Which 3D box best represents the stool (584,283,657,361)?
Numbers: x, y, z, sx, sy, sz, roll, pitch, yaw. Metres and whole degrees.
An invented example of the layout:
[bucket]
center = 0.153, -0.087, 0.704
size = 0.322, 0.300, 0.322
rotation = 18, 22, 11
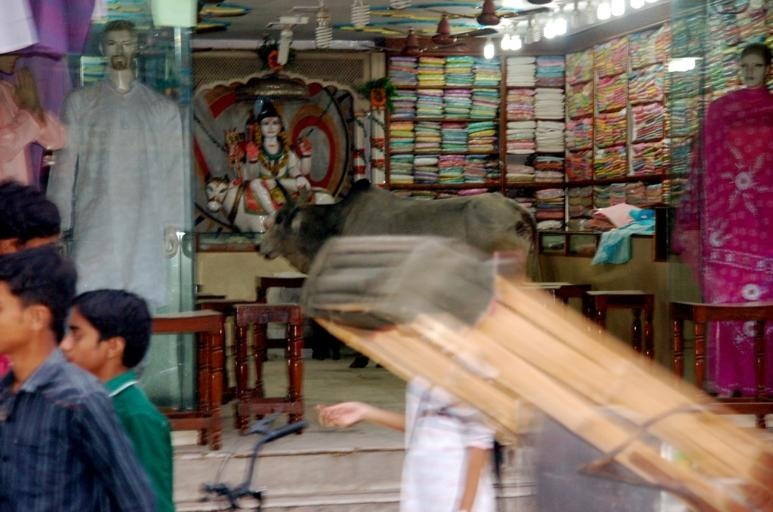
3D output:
[stool]
center = 1.518, 0.433, 6.827
size = 0.553, 0.601, 0.403
rotation = 0, 2, -1
